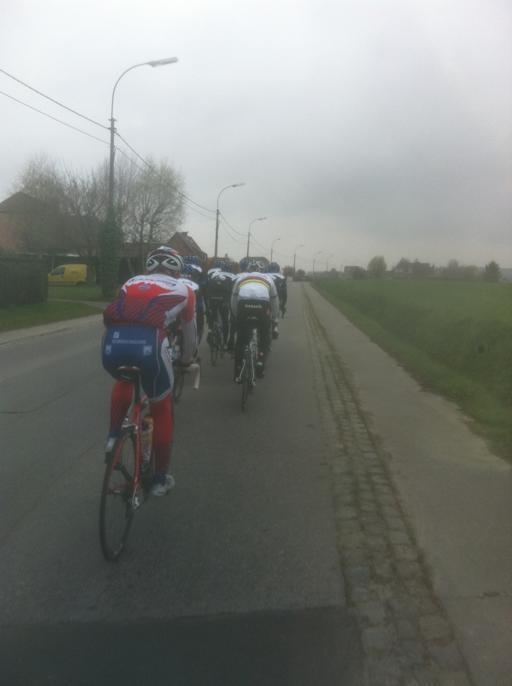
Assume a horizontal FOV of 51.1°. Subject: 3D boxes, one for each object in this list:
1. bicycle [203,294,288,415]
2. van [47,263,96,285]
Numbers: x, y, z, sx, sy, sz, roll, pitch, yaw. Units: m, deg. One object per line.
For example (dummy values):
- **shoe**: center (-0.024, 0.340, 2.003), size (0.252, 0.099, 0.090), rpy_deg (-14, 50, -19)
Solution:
- **bicycle**: center (-0.193, 0.161, 7.701), size (0.800, 1.532, 2.004), rpy_deg (2, 11, 1)
- **van**: center (-12.775, -4.918, 37.089), size (1.983, 1.555, 1.592), rpy_deg (3, 15, -5)
